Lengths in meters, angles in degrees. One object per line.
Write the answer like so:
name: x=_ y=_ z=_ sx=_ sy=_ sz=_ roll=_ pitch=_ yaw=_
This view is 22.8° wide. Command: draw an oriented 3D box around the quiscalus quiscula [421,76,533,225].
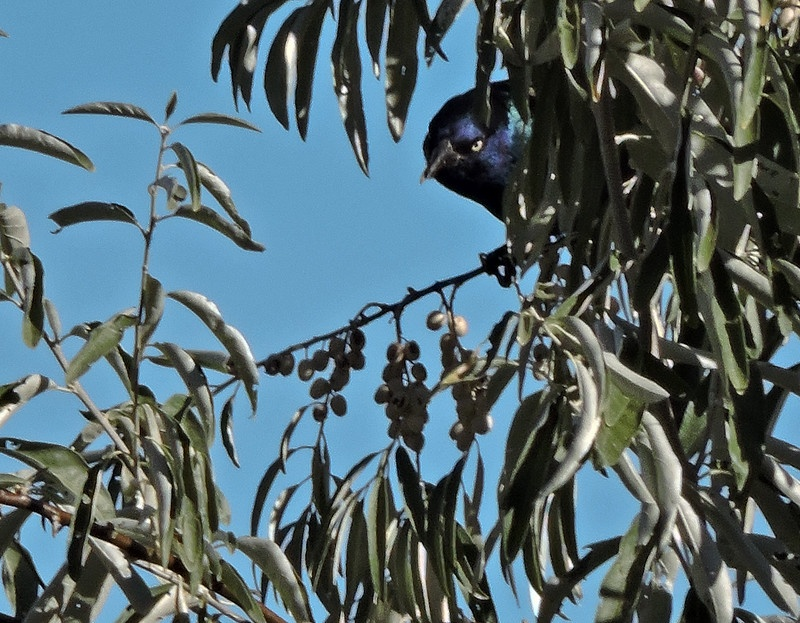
quiscalus quiscula: x=0.182 y=-0.355 z=4.665 sx=0.260 sy=0.501 sz=0.252 roll=13 pitch=-107 yaw=9
